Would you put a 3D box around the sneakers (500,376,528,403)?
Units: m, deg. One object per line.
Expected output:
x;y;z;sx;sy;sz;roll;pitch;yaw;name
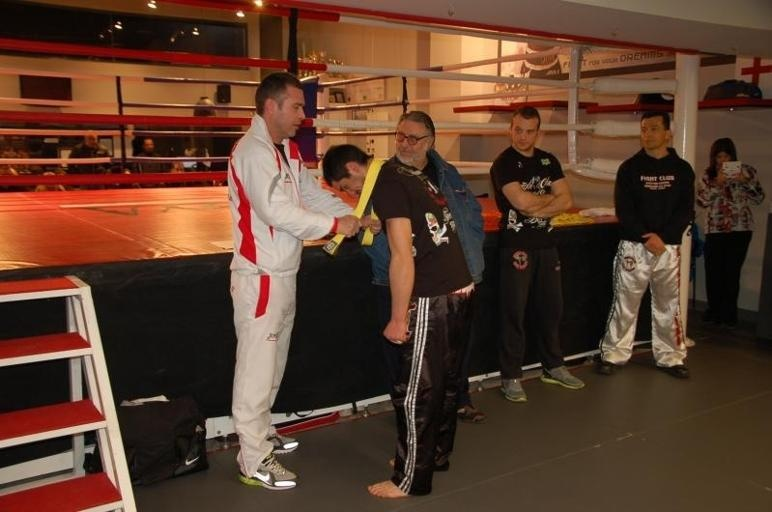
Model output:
0.962;1.008;3.962;0.108;0.100;0.247;-1;-3;-13;sneakers

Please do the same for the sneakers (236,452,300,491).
-0.710;1.246;3.057;0.404;0.225;0.140;1;0;1;sneakers

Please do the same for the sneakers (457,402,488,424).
0.581;1.088;3.650;0.214;0.086;0.118;-4;-3;38;sneakers

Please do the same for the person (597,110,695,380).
2.109;0.069;4.265;0.677;1.793;0.466;1;12;18;person

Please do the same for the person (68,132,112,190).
-4.166;-1.330;7.382;0.464;0.737;1.549;-9;13;-28;person

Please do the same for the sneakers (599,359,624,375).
1.842;0.929;4.371;0.129;0.057;0.155;-2;2;-5;sneakers

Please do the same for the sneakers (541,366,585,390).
1.371;0.937;4.117;0.320;0.131;0.147;2;5;30;sneakers

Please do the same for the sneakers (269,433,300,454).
-0.644;1.178;3.299;0.239;0.100;0.081;2;10;-7;sneakers

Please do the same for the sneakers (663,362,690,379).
2.389;0.947;4.332;0.092;0.088;0.219;0;-2;-19;sneakers

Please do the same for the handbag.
-1.497;1.085;3.177;0.777;0.421;0.734;-4;-5;9;handbag

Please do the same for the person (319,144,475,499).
0.165;0.419;2.868;0.373;1.825;0.537;7;15;40;person

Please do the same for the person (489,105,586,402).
1.094;-0.020;3.937;0.637;2.133;0.436;-7;13;-21;person
